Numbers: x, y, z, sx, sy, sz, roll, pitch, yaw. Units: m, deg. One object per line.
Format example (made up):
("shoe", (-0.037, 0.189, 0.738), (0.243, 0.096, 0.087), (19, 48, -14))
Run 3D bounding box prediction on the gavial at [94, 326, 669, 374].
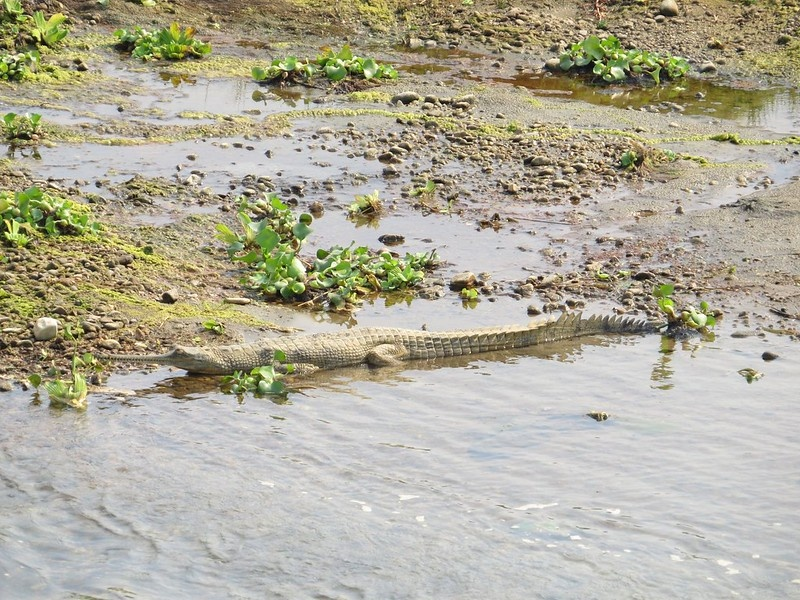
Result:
("gavial", (0.328, 0.459, 12.942), (6.840, 0.408, 0.975), (0, -9, -10))
